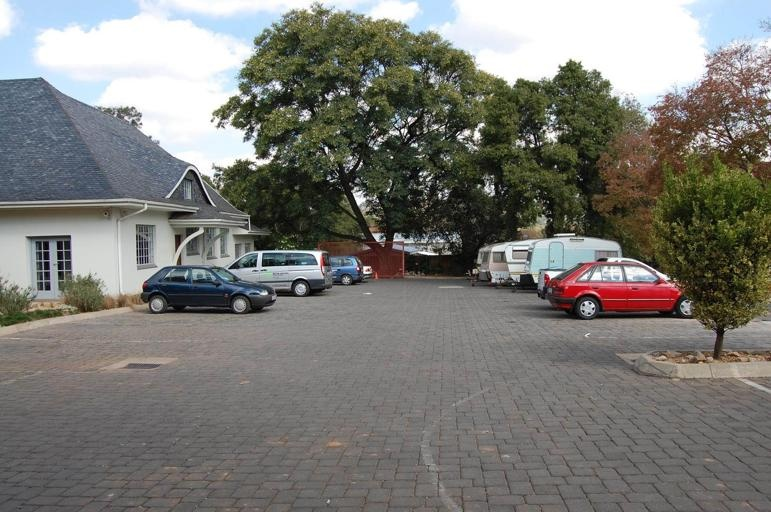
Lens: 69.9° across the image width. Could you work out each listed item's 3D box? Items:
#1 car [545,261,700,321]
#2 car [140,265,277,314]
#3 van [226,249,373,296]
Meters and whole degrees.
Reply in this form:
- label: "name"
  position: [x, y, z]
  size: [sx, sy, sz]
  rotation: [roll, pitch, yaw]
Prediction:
- label: "car"
  position: [7.592, 1.121, 18.558]
  size: [4.094, 1.378, 1.918]
  rotation: [0, 1, 0]
- label: "car"
  position: [-6.339, 1.235, 20.139]
  size: [4.199, 1.398, 1.925]
  rotation: [0, 1, 1]
- label: "van"
  position: [-4.928, 0.737, 26.680]
  size: [4.620, 1.625, 2.148]
  rotation: [3, 1, 1]
